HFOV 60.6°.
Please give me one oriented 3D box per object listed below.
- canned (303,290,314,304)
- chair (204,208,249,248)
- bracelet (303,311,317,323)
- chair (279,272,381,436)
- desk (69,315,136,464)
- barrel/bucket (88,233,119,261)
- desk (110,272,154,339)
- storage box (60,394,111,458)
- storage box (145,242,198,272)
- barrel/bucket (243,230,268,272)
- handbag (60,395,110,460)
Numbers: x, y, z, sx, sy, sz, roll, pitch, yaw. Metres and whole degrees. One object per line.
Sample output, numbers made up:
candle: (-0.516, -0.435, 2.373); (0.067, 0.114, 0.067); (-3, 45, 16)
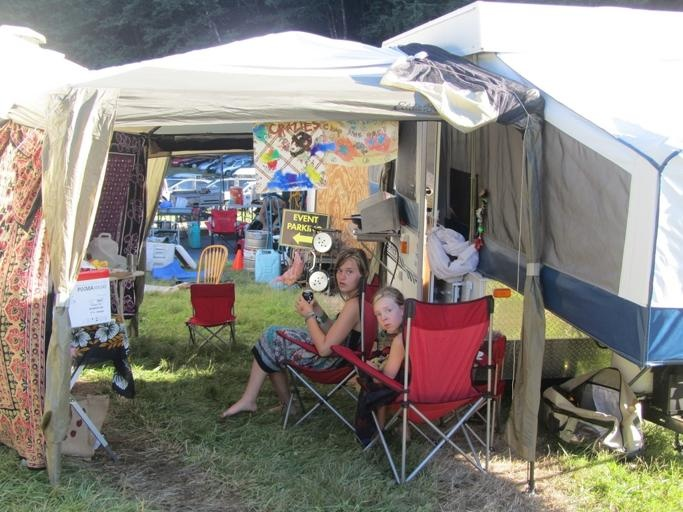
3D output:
canned: (-0.256, 0.304, 4.390); (0.081, 0.090, 0.095); (4, 11, 17)
chair: (-2.353, -0.587, 11.997); (0.789, 0.874, 1.760); (-2, 12, -11)
bracelet: (-0.229, 0.452, 4.339); (0.090, 0.085, 0.133); (0, 11, -5)
chair: (-0.127, 0.802, 4.871); (0.915, 1.503, 1.001); (3, -6, -3)
desk: (-1.775, 0.857, 4.300); (0.409, 0.939, 1.249); (-4, 12, -25)
barrel/bucket: (-2.362, -0.094, 5.797); (0.181, 0.322, 0.303); (-5, -8, 37)
desk: (-2.212, 0.490, 6.051); (0.593, 0.633, 0.614); (-1, 7, -17)
storage box: (-1.799, 1.181, 4.096); (0.326, 0.363, 0.115); (8, -17, -22)
storage box: (-2.966, -0.011, 10.026); (0.567, 0.335, 0.604); (2, 0, -8)
barrel/bucket: (-1.503, -0.099, 9.947); (0.536, 0.891, 0.569); (1, 8, 0)
handbag: (-1.793, 1.194, 4.102); (0.334, 0.364, 0.114); (8, -17, -24)
